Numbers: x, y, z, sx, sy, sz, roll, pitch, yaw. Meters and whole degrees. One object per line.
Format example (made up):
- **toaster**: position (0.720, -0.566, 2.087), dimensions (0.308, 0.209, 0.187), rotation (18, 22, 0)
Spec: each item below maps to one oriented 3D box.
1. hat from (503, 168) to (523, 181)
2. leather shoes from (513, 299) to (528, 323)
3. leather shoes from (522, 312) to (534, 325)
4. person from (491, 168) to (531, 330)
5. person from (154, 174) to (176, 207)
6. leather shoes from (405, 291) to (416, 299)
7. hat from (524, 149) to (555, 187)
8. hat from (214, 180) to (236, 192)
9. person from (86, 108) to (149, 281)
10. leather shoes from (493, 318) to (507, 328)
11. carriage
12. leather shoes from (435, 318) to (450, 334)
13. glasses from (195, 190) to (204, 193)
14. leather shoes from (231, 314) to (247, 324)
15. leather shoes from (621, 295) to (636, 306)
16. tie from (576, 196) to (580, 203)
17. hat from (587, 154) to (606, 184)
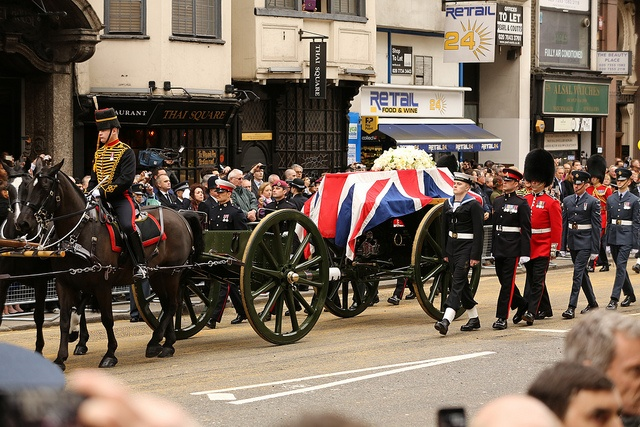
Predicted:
- **hat**: position (3.568, -0.711, 21.675), dimensions (0.275, 0.137, 0.297), rotation (5, 9, 43)
- **leather shoes**: position (3.641, 1.779, 21.545), dimensions (0.233, 0.154, 0.477), rotation (9, -36, -3)
- **leather shoes**: position (3.740, 1.861, 21.221), dimensions (0.130, 0.139, 0.320), rotation (15, -21, 22)
- **person**: position (3.460, 0.609, 21.354), dimensions (0.660, 2.832, 0.929), rotation (0, 4, 7)
- **person**: position (-3.052, -0.426, 23.101), dimensions (0.365, 0.537, 0.720), rotation (-10, 5, 13)
- **leather shoes**: position (1.877, 1.713, 24.750), dimensions (0.132, 0.136, 0.377), rotation (-7, -11, 33)
- **hat**: position (4.073, -0.853, 21.955), dimensions (0.569, 0.543, 0.740), rotation (-4, -12, 19)
- **hat**: position (-1.782, -0.512, 21.971), dimensions (0.289, 0.121, 0.235), rotation (2, 0, -35)
- **person**: position (-3.248, -0.321, 19.166), dimensions (0.811, 2.720, 0.703), rotation (-1, 4, -9)
- **leather shoes**: position (3.215, 1.952, 21.146), dimensions (0.257, 0.172, 0.274), rotation (0, 3, 7)
- **carriage**: position (-2.078, 0.885, 20.567), dimensions (3.277, 2.742, 9.011), rotation (4, 1, 33)
- **leather shoes**: position (2.095, 1.920, 20.329), dimensions (0.148, 0.167, 0.369), rotation (32, -15, 18)
- **glasses**: position (-2.424, -0.435, 23.739), dimensions (0.116, 0.067, 0.121), rotation (5, 13, -15)
- **leather shoes**: position (-1.522, 1.975, 22.307), dimensions (0.378, 0.144, 0.130), rotation (1, 0, -36)
- **leather shoes**: position (5.992, 1.687, 23.059), dimensions (0.405, 0.148, 0.136), rotation (-6, 9, -34)
- **tie**: position (5.179, -0.292, 23.786), dimensions (0.072, 0.065, 0.188), rotation (-5, 33, 13)
- **hat**: position (5.914, -1.046, 25.206), dimensions (0.409, 0.344, 0.576), rotation (3, 25, 9)
